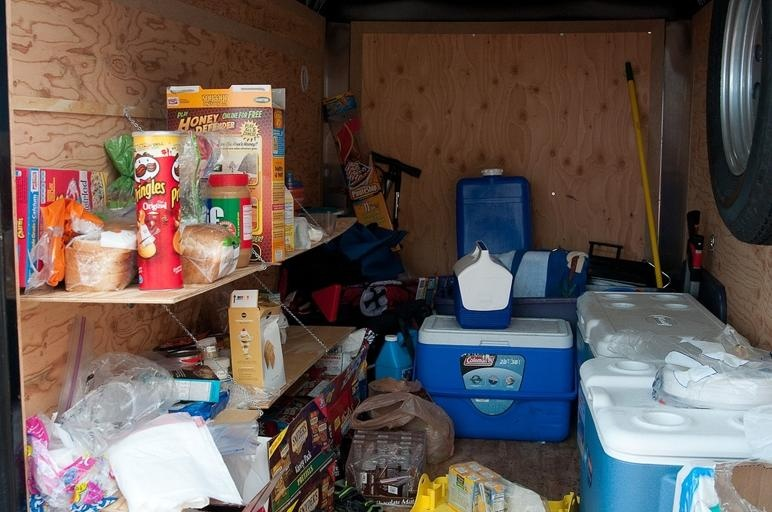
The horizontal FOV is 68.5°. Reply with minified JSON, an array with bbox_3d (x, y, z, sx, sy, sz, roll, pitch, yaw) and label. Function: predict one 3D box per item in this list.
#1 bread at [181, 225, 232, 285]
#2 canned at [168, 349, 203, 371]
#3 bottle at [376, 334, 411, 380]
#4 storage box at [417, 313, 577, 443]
[{"bbox_3d":[-0.533,-0.001,1.757,0.152,0.179,0.199,1,3,1],"label":"bread"},{"bbox_3d":[-0.720,0.375,2.047,0.081,0.032,0.063,-4,8,7],"label":"canned"},{"bbox_3d":[0.037,0.584,3.235,0.218,0.276,0.092,-3,9,1],"label":"bottle"},{"bbox_3d":[0.612,0.458,3.156,0.924,0.624,0.571,1,8,6],"label":"storage box"}]
